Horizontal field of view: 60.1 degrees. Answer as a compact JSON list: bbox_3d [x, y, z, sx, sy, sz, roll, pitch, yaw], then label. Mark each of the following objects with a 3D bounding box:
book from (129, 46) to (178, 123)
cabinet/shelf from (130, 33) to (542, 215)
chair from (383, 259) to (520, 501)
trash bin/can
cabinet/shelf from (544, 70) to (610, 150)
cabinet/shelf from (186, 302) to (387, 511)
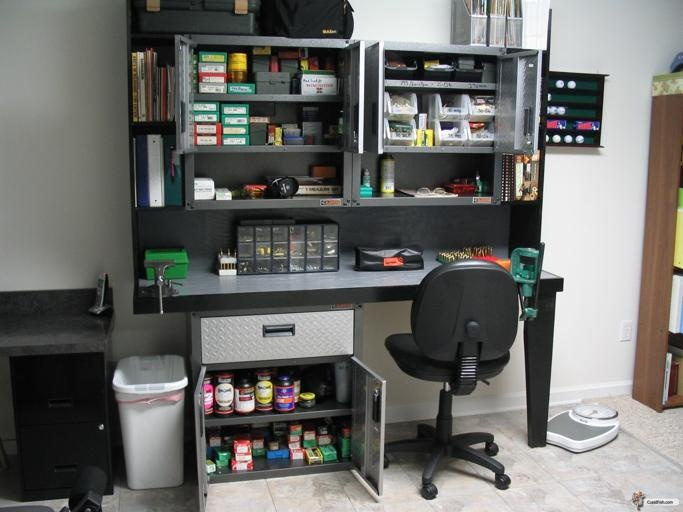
[{"bbox_3d":[-0.996,-0.889,3.115,0.336,0.426,0.302,-1,9,-7],"label":"book"},{"bbox_3d":[0.001,-0.731,3.318,2.310,0.996,0.584,-5,13,-10],"label":"cabinet/shelf"},{"bbox_3d":[0.573,0.619,3.232,0.698,1.295,0.502,-2,13,3],"label":"chair"},{"bbox_3d":[-1.041,0.922,3.322,0.394,0.642,0.387,-6,13,-16],"label":"trash bin/can"},{"bbox_3d":[1.517,-0.971,3.868,0.564,0.536,0.168,0,7,-9],"label":"cabinet/shelf"},{"bbox_3d":[-0.337,0.746,3.509,1.083,1.060,1.017,-1,6,-9],"label":"cabinet/shelf"}]
